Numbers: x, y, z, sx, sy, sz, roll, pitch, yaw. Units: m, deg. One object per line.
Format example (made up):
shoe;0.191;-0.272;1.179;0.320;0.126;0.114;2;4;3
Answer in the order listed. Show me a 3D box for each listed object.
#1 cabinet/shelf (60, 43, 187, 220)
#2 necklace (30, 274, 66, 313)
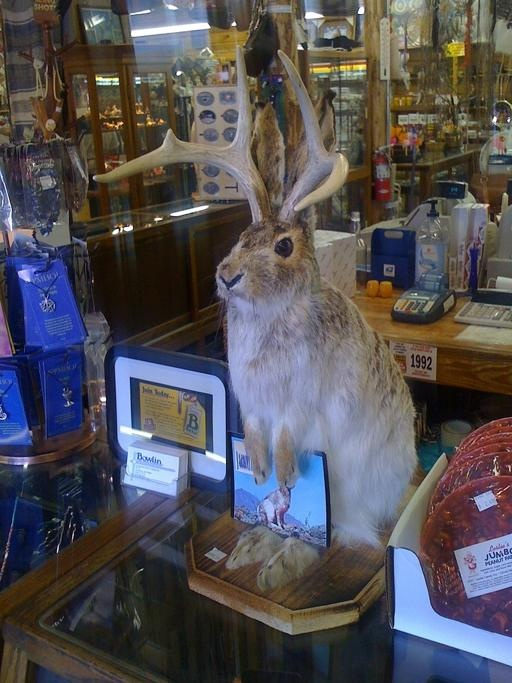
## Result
cabinet/shelf;-0.928;-1.506;3.710;0.305;1.114;1.035;11;24;38
necklace;-0.438;-0.101;1.089;0.060;0.089;0.009;-14;15;-43
